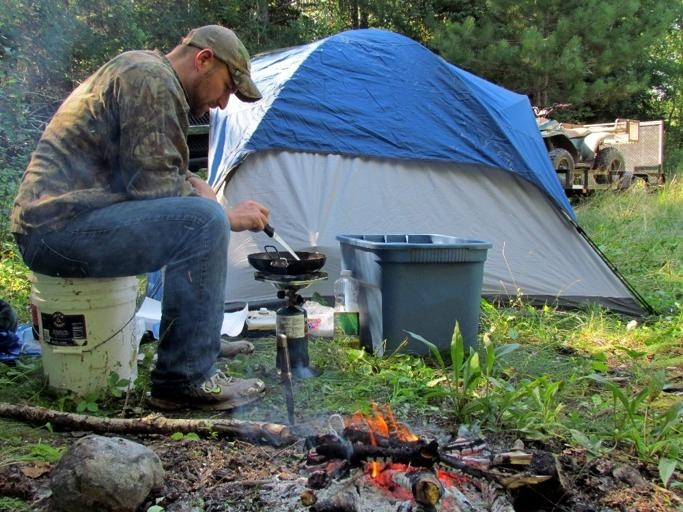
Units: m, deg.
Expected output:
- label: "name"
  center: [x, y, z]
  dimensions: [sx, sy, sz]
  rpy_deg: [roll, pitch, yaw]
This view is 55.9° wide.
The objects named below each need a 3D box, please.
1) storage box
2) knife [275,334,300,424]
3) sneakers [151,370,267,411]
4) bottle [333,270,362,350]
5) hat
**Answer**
- label: "storage box"
  center: [0.497, 0.231, 4.645]
  dimensions: [0.849, 0.700, 1.103]
  rpy_deg: [-1, 5, -16]
- label: "knife"
  center: [-0.298, 0.669, 3.582]
  dimensions: [0.162, 0.392, 0.153]
  rpy_deg: [1, 15, -24]
- label: "sneakers"
  center: [-0.695, 0.717, 3.458]
  dimensions: [0.600, 0.252, 0.220]
  rpy_deg: [-6, 8, -13]
- label: "bottle"
  center: [0.027, 0.393, 4.583]
  dimensions: [0.203, 0.498, 0.194]
  rpy_deg: [0, 2, 0]
- label: "hat"
  center: [-0.605, -1.072, 3.466]
  dimensions: [0.472, 0.237, 0.281]
  rpy_deg: [25, 21, -25]
